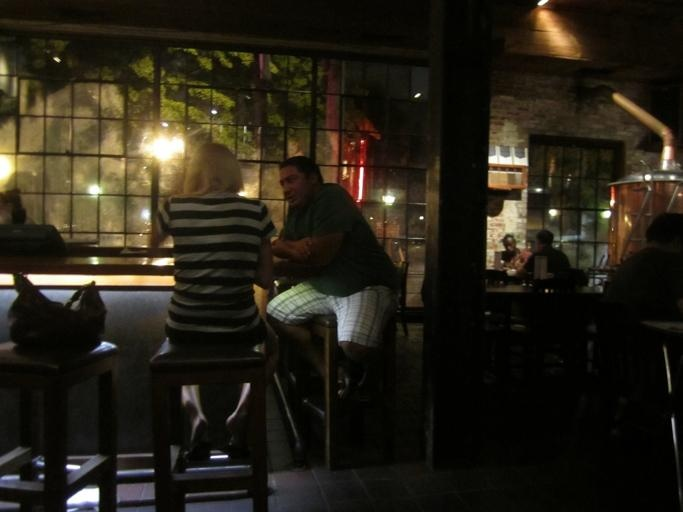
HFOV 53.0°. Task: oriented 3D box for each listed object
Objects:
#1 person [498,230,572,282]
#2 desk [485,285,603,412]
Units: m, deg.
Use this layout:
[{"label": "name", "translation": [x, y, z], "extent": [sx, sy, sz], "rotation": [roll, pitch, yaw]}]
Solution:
[{"label": "person", "translation": [2.227, -0.005, 8.097], "extent": [0.652, 0.781, 0.452], "rotation": [3, 3, 7]}, {"label": "desk", "translation": [1.894, 0.826, 6.535], "extent": [1.161, 1.017, 1.112], "rotation": [1, 0, 5]}]
